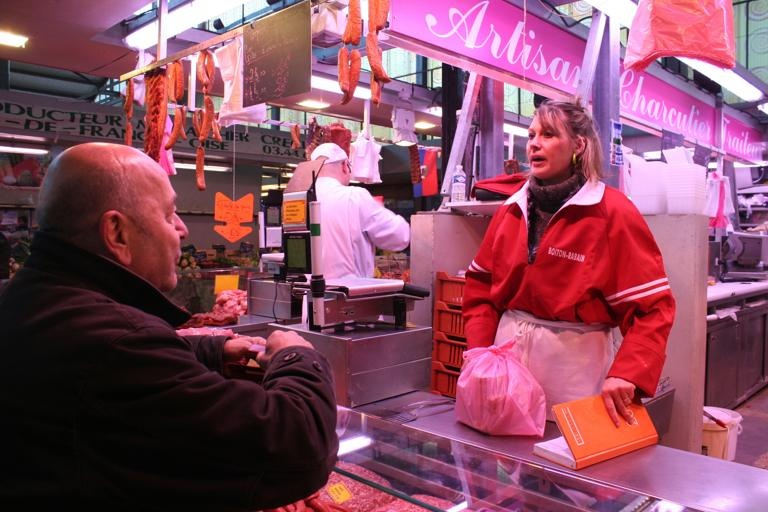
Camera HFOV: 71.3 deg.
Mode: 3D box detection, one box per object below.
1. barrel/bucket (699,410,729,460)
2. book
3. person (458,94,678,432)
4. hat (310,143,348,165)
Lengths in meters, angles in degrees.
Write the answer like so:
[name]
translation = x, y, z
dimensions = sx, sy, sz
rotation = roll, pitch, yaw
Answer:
[barrel/bucket]
translation = 2.321, 1.241, 3.740
dimensions = 0.182, 0.339, 0.285
rotation = 9, 4, 33
[book]
translation = 0.861, 0.673, 2.132
dimensions = 0.425, 0.169, 0.239
rotation = -4, 17, -31
[person]
translation = 0.838, 0.009, 2.493
dimensions = 0.941, 1.284, 0.462
rotation = 9, 4, 32
[hat]
translation = -0.419, -0.797, 4.133
dimensions = 0.176, 0.137, 0.250
rotation = 9, 16, 41
